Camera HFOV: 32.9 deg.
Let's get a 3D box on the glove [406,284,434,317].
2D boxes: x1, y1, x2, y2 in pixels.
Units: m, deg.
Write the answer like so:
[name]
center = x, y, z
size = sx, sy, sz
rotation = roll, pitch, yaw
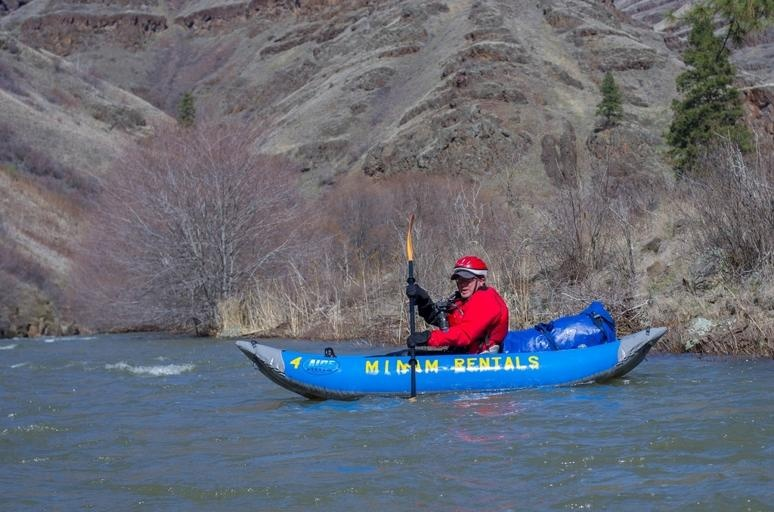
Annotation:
[glove]
center = 0.923, 1.510, 44.016
size = 0.470, 1.255, 0.671
rotation = -20, 16, 37
